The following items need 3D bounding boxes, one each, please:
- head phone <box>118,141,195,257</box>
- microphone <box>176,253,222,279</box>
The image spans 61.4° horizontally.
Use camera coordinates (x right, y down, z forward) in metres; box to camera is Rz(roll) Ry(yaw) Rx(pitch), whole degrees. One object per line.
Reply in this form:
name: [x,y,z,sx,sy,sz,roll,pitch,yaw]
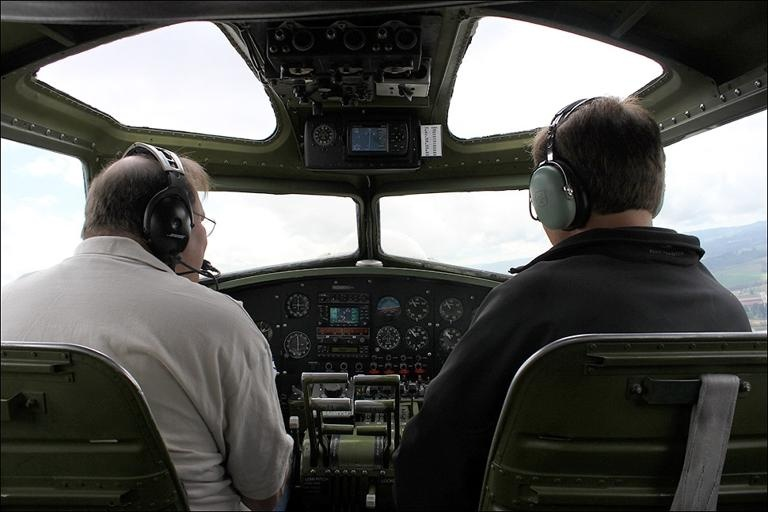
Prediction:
head phone: [-0.927,-0.193,2.847,0.202,0.475,0.510,-2,-13,-19]
microphone: [-0.913,0.059,3.180,0.197,0.062,0.157,8,-9,-15]
